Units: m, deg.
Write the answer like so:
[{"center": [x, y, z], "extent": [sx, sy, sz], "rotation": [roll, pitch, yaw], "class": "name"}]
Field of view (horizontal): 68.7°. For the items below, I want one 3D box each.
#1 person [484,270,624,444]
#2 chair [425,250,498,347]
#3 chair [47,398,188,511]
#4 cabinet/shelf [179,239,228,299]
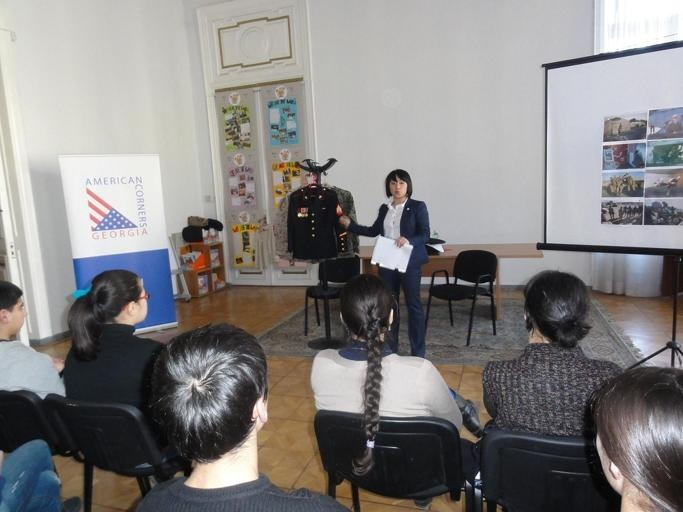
[{"center": [0.823, 0.401, 1.980], "extent": [0.497, 0.740, 0.447], "rotation": [6, 30, 19], "class": "person"}, {"center": [1.137, 0.362, 4.786], "extent": [0.587, 0.822, 0.580], "rotation": [4, 6, 30], "class": "chair"}, {"center": [-0.969, 0.811, 2.391], "extent": [0.426, 0.615, 0.473], "rotation": [5, 15, 13], "class": "chair"}, {"center": [-2.001, 0.192, 7.169], "extent": [0.266, 0.671, 0.767], "rotation": [-4, 2, 19], "class": "cabinet/shelf"}]
